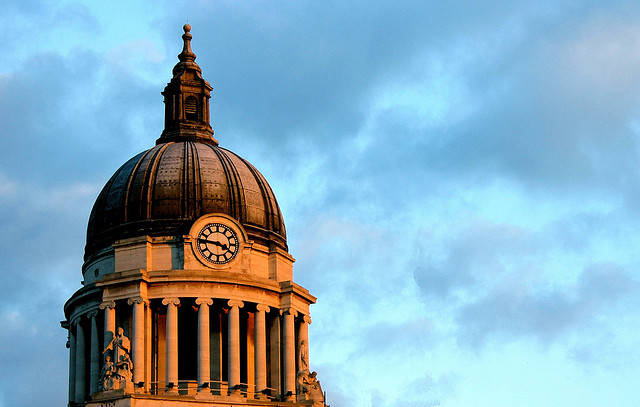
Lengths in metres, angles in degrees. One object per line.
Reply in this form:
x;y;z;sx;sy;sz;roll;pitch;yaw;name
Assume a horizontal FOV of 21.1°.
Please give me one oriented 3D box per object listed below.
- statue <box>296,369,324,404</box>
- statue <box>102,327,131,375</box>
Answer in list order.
-1.138;18.202;175.576;2.370;4.558;1.677;-1;-46;-6;statue
-19.871;14.534;170.140;1.952;1.947;4.711;5;-86;16;statue
